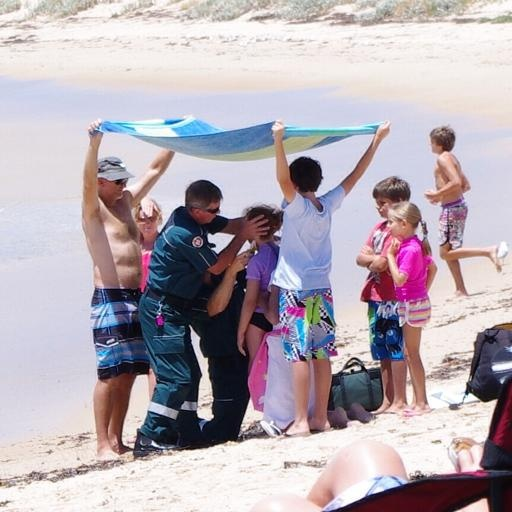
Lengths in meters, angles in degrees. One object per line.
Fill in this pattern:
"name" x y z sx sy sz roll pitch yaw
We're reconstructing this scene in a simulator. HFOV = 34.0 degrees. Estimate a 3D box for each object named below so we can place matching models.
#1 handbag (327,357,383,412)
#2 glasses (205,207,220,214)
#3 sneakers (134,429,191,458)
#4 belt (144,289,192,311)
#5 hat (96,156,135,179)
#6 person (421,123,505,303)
"handbag" 0.694 0.910 5.870 0.522 0.390 0.168 0 2 -6
"glasses" -0.279 -0.295 5.478 0.065 0.045 0.217 -8 4 8
"sneakers" -0.607 1.212 5.410 0.392 0.184 0.131 -3 1 6
"belt" -0.549 0.285 5.391 0.186 0.054 0.192 19 0 8
"hat" -0.962 -0.594 5.710 0.224 0.093 0.167 -1 3 33
"person" 2.250 -0.460 9.237 0.691 1.975 1.176 -10 6 11
